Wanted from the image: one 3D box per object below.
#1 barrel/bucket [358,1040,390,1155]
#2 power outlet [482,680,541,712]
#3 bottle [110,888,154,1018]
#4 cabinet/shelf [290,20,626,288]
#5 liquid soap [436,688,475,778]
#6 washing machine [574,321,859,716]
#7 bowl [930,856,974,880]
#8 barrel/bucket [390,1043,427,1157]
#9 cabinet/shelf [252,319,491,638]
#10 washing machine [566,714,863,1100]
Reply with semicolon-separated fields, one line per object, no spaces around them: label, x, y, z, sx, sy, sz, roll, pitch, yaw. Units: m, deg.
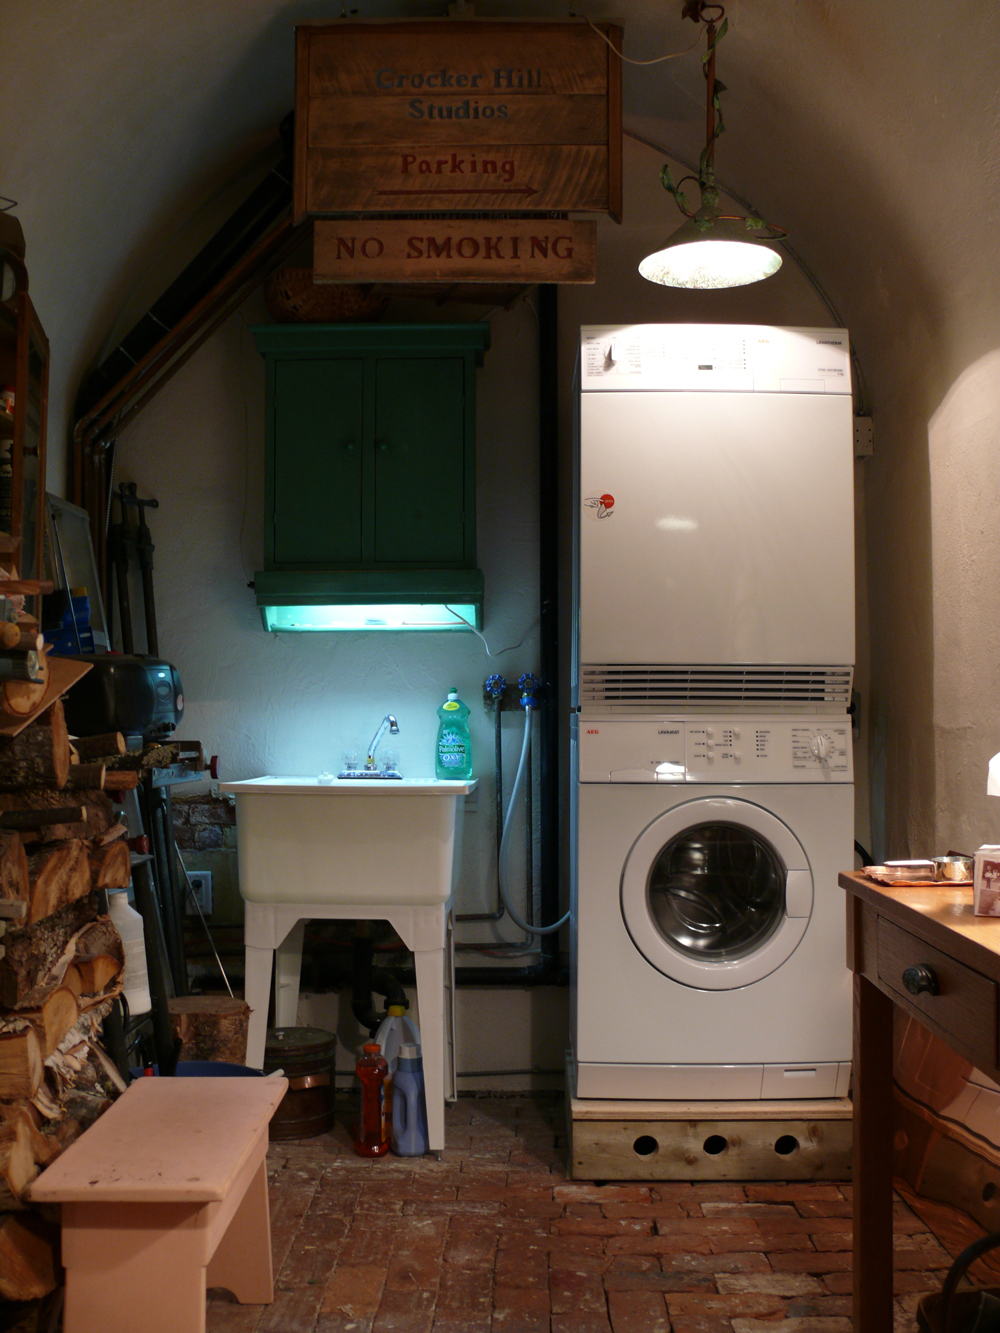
barrel/bucket;-0.331;1.127;3.180;0.081;0.276;0.126;0;-1;-6
power outlet;0.036;0.087;3.793;0.171;0.106;0.114;0;-1;-1
bottle;-0.792;0.630;2.596;0.088;0.289;0.211;0;-1;-17
cabinet/shelf;-0.093;-1.301;3.160;0.907;0.551;0.669;-1;19;0
liquid soap;-0.142;0.208;3.762;0.119;0.269;0.210;0;-1;0
washing machine;0.595;-0.427;3.325;0.736;1.063;0.595;1;17;14
bowl;0.789;0.353;2.130;0.038;0.026;0.063;1;-9;-2
barrel/bucket;-0.238;1.134;3.167;0.094;0.267;0.084;0;-1;-6
cabinet/shelf;-0.403;-0.537;3.786;0.713;0.948;0.483;-1;-12;-3
washing machine;0.592;0.752;3.275;0.832;1.030;0.792;8;-27;-4
